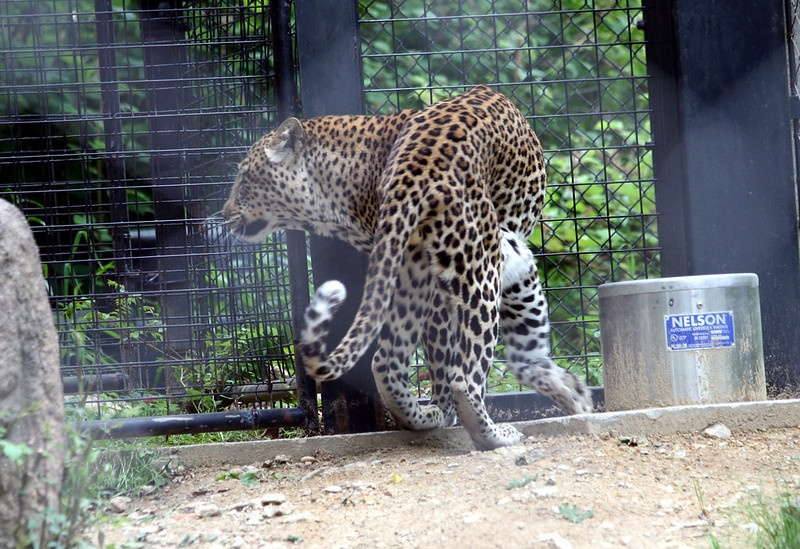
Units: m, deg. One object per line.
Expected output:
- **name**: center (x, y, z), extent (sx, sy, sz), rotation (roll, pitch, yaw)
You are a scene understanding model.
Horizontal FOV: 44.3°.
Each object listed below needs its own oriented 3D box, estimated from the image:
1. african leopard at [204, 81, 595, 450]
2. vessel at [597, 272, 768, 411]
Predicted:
- **african leopard**: center (0.067, -0.139, 6.234), extent (1.032, 2.026, 3.737), rotation (-4, -1, 37)
- **vessel**: center (1.733, 0.406, 6.259), extent (0.853, 0.884, 0.869), rotation (3, -6, -38)
